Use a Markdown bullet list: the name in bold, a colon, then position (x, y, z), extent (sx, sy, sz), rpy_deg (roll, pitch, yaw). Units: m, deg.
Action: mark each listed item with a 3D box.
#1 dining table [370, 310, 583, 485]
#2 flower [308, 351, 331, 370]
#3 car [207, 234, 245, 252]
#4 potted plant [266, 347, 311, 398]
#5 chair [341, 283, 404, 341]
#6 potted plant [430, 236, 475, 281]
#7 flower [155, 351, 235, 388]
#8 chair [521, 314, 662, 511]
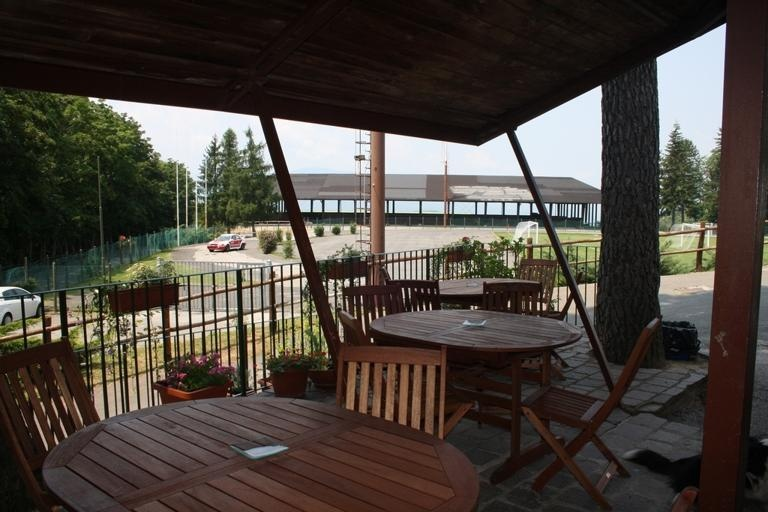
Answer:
- **dining table**: position (0.837, 0.818, 4.612), extent (1.408, 1.030, 1.790), rpy_deg (-8, 11, -38)
- **flower**: position (-0.800, 1.270, 6.252), extent (0.205, 0.141, 0.198), rpy_deg (1, 2, -16)
- **car**: position (-14.160, -1.188, 45.643), extent (1.409, 1.111, 3.335), rpy_deg (0, 0, 17)
- **potted plant**: position (-1.112, 1.358, 5.979), extent (0.499, 0.431, 0.496), rpy_deg (0, -9, -4)
- **chair**: position (-0.106, 0.562, 5.450), extent (0.482, 0.814, 0.582), rpy_deg (-2, 2, -29)
- **potted plant**: position (1.282, 0.063, 9.576), extent (0.928, 0.771, 0.815), rpy_deg (-2, 8, -5)
- **flower**: position (-2.146, 1.279, 5.707), extent (0.505, 0.242, 0.515), rpy_deg (2, 4, 41)
- **chair**: position (1.567, 1.145, 4.092), extent (0.987, 1.428, 0.708), rpy_deg (-1, 8, 3)
